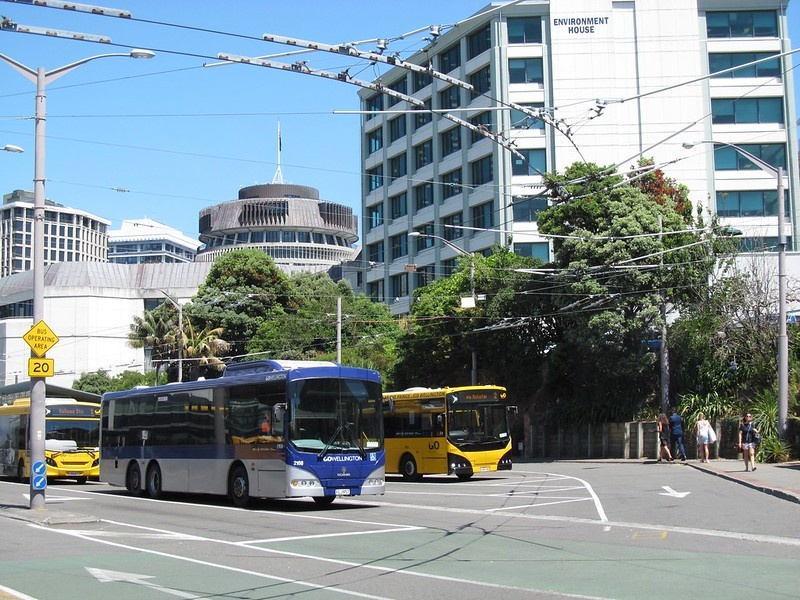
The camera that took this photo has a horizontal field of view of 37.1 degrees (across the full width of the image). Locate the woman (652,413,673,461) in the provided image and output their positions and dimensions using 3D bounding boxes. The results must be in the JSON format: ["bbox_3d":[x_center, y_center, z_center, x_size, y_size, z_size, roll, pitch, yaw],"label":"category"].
[{"bbox_3d":[10.999,5.735,49.812,0.641,2.008,2.448,-2,-6,12],"label":"woman"}]

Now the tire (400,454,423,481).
[{"bbox_3d":[0.410,6.578,47.273,0.314,0.932,0.902,-2,-19,-33],"label":"tire"}]

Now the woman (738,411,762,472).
[{"bbox_3d":[12.396,5.048,42.492,0.650,2.027,1.735,-2,-6,15],"label":"woman"}]

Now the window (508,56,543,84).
[{"bbox_3d":[8.517,-15.607,81.177,1.820,1.382,0.155,1,-9,-2],"label":"window"}]

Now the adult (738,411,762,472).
[{"bbox_3d":[12.396,5.048,42.492,0.650,2.027,1.735,-2,-6,15],"label":"adult"}]

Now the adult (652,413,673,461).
[{"bbox_3d":[10.981,5.726,49.731,0.641,2.008,2.282,-2,-6,12],"label":"adult"}]

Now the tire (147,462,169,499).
[{"bbox_3d":[-8.476,6.196,41.303,0.430,1.270,1.202,8,-1,-36],"label":"tire"}]

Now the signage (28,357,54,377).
[{"bbox_3d":[-11.119,2.061,36.632,0.121,0.578,0.758,-1,-1,39],"label":"signage"}]

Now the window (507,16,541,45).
[{"bbox_3d":[8.476,-18.392,81.564,1.870,1.474,0.135,2,-2,-3],"label":"window"}]
